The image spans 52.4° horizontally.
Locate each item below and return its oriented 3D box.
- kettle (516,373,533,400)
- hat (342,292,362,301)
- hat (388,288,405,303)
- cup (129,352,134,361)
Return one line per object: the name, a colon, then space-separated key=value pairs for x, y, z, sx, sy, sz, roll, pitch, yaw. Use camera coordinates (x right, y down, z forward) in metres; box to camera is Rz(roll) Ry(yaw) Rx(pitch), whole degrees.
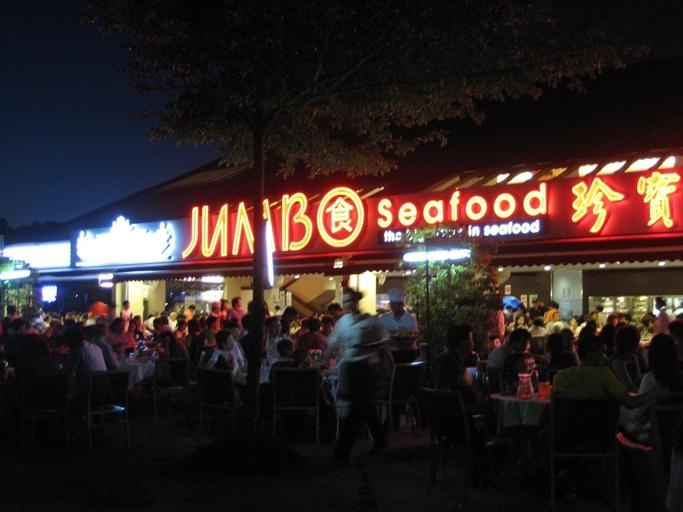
kettle: x=2.339 y=1.654 z=8.776 sx=0.234 sy=0.434 sz=0.259 roll=2 pitch=-3 yaw=24
hat: x=0.126 y=0.542 z=9.149 sx=0.171 sy=0.130 sz=0.199 roll=-6 pitch=-6 yaw=-10
hat: x=0.930 y=0.687 z=11.804 sx=0.213 sy=0.202 sz=0.244 roll=-1 pitch=-9 yaw=6
cup: x=-3.879 y=1.856 z=12.769 sx=0.098 sy=0.109 sz=0.185 roll=3 pitch=-6 yaw=-13
